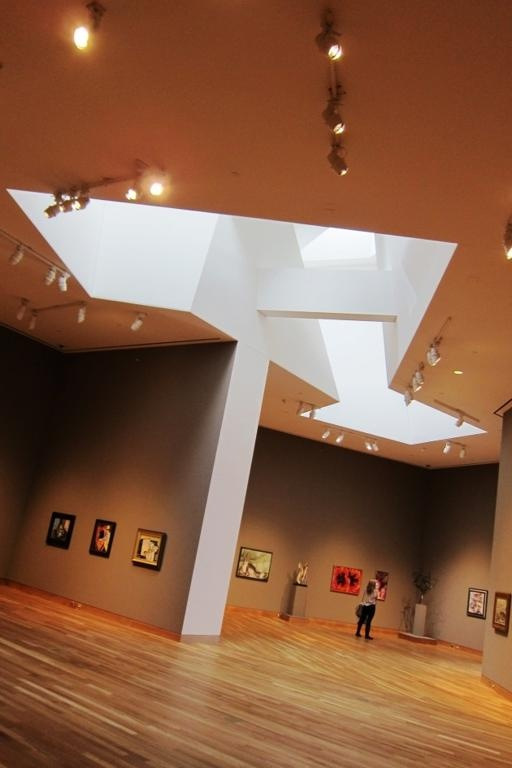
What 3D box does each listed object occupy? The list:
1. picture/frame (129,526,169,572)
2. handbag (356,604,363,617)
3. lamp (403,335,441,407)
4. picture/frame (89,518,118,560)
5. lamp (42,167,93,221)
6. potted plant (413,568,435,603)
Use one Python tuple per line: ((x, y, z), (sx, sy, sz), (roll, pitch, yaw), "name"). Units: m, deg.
((-1.947, 3.054, 9.023), (0.739, 0.700, 0.084), (2, -18, 37), "picture/frame")
((2.912, 6.487, 14.032), (0.160, 0.325, 0.415), (8, -16, 15), "handbag")
((2.814, -0.248, 8.421), (0.233, 1.220, 0.311), (24, -8, 39), "lamp")
((-2.993, 3.113, 9.750), (0.768, 1.005, 0.096), (1, -15, 39), "picture/frame")
((-1.818, -1.815, 4.885), (0.496, 0.314, 0.203), (-11, -14, 26), "lamp")
((5.726, 7.136, 17.228), (0.404, 1.079, 0.900), (13, -15, -3), "potted plant")
